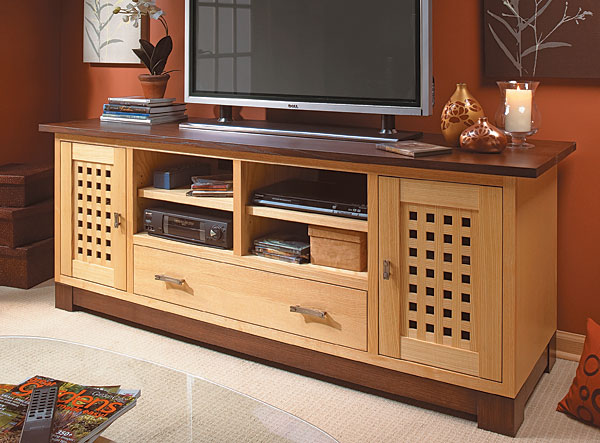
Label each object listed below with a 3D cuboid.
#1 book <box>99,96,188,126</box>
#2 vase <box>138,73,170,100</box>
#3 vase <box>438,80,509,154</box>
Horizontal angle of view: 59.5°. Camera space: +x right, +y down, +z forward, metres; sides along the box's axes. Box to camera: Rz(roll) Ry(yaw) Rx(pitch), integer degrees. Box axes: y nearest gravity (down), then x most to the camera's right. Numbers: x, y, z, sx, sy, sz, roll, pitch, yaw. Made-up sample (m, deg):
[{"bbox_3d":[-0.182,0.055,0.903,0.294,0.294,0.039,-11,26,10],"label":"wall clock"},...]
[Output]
[{"bbox_3d":[-0.791,-0.598,2.887,0.271,0.087,0.258,4,8,34],"label":"book"},{"bbox_3d":[-0.802,-0.756,2.967,0.169,0.109,0.165,3,6,30],"label":"vase"},{"bbox_3d":[0.663,-0.416,2.048,0.230,0.278,0.341,-17,24,-24],"label":"vase"}]
